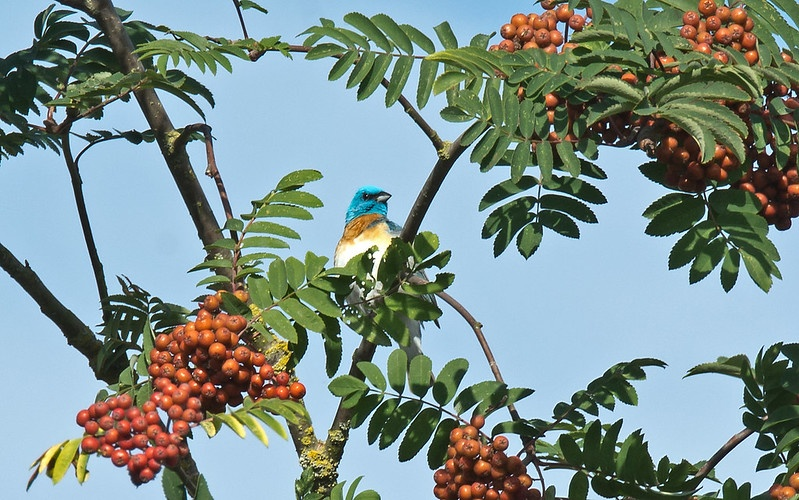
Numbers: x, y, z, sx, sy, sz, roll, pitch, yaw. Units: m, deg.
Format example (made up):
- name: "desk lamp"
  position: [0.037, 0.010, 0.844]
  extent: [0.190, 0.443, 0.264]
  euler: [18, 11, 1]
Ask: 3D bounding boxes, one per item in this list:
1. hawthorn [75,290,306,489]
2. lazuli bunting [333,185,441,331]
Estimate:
- name: "hawthorn"
  position: [-1.474, 1.047, 8.925]
  extent: [1.386, 1.024, 0.662]
  euler: [-13, -43, 17]
- name: "lazuli bunting"
  position: [-0.166, -0.058, 12.824]
  extent: [0.645, 1.303, 1.135]
  euler: [-3, 1, 22]
